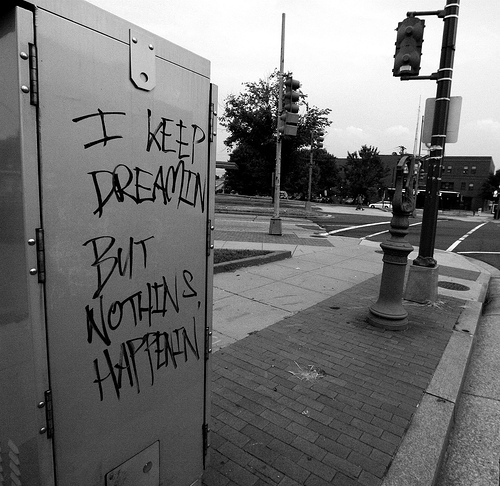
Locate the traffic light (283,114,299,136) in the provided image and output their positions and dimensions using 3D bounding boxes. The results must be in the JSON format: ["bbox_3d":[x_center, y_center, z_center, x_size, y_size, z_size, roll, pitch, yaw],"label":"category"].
[{"bbox_3d":[1.070,-3.082,11.908,0.360,0.568,0.537,3,9,3],"label":"traffic light"}]

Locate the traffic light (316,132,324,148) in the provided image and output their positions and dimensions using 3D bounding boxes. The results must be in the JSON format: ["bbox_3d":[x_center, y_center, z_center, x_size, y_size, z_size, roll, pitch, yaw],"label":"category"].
[{"bbox_3d":[3.555,-5.260,23.242,0.345,0.795,1.117,3,9,5],"label":"traffic light"}]

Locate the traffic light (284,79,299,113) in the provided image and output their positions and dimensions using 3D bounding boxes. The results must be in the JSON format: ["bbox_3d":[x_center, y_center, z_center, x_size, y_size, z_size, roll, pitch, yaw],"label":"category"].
[{"bbox_3d":[1.075,-3.802,11.695,0.389,0.950,1.029,3,9,4],"label":"traffic light"}]
